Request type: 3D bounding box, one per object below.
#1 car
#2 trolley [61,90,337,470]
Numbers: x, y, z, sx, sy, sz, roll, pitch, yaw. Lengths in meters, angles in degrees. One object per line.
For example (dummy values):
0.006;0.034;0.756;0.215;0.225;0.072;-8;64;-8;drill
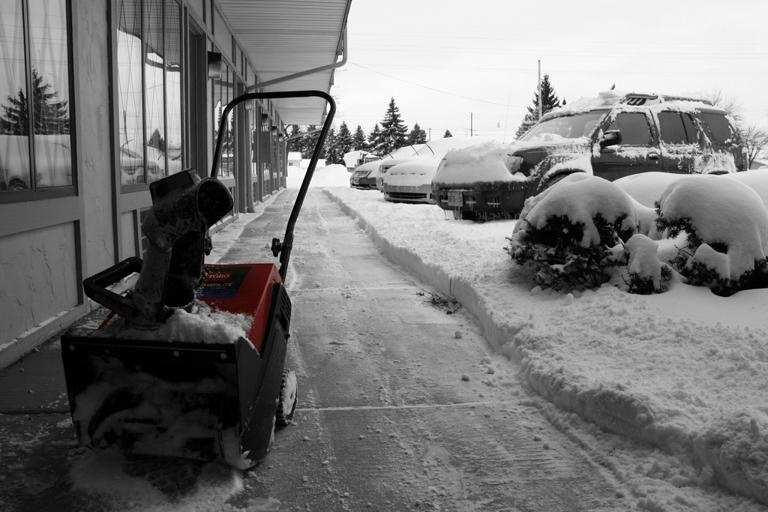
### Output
3.398;-1.616;9.274;4.712;2.300;2.202;2;11;-1;car
-1.101;0.336;3.240;1.007;1.691;0.980;3;11;5;trolley
